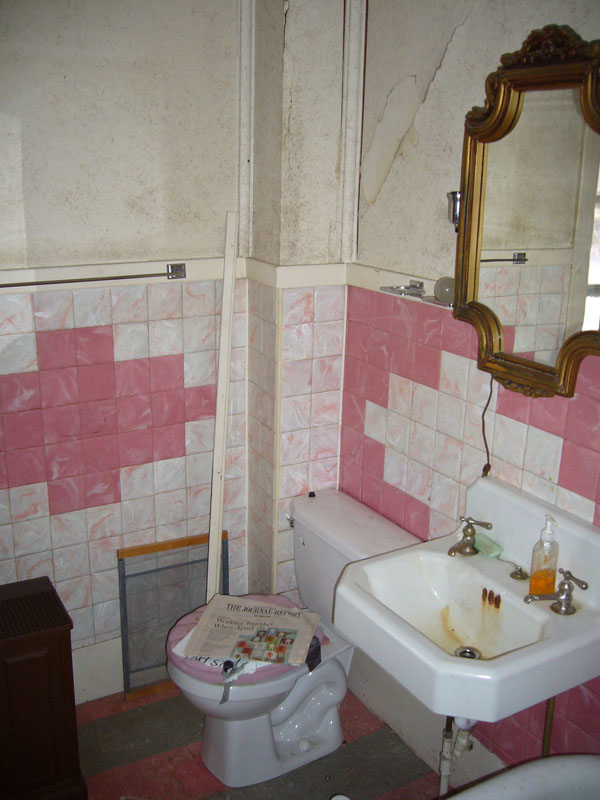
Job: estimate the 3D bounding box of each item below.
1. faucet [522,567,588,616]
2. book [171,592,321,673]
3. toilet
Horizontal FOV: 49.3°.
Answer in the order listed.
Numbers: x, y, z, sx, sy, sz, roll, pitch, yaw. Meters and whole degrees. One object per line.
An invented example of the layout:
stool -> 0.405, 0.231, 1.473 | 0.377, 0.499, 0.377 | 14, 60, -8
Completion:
faucet -> 0.485, 0.371, 1.250 | 0.092, 0.074, 0.081 | -8, 23, -21
book -> -0.138, 0.626, 1.769 | 0.362, 0.048, 0.296 | 0, 12, 0
toilet -> -0.066, 0.700, 1.893 | 0.638, 0.742, 0.391 | -4, 16, -30
